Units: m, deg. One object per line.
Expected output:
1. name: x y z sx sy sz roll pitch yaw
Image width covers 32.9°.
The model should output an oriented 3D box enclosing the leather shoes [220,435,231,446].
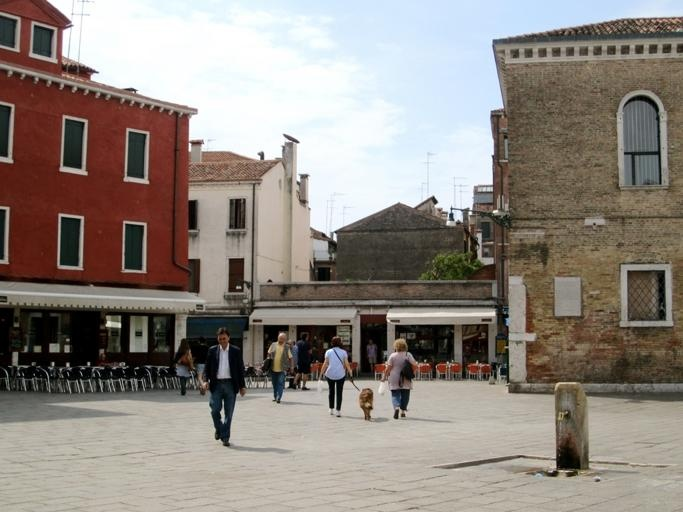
1. leather shoes: -2.399 3.758 23.783 0.138 0.200 0.100 6 -34 -18

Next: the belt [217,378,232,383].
1. belt: -2.463 2.547 24.127 0.274 0.071 0.059 0 -7 -13

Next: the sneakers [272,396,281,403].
1. sneakers: -1.799 3.884 31.644 0.257 0.172 0.084 -1 -1 21

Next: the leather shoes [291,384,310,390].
1. leather shoes: -1.363 4.113 36.862 0.631 0.255 0.209 -4 -9 18

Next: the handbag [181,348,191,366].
1. handbag: -4.607 2.906 33.892 0.420 0.393 0.187 16 -11 -4

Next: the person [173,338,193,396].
1. person: -4.655 3.211 34.014 0.493 1.657 1.175 -1 -6 -8

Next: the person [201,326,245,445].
1. person: -2.461 2.687 24.153 0.819 2.432 0.684 -2 -6 -2

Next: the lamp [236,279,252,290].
1. lamp: -4.446 1.201 51.516 0.846 0.478 0.374 -7 -8 36

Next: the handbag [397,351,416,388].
1. handbag: 1.554 2.727 28.006 0.347 0.885 0.456 -2 -6 2
